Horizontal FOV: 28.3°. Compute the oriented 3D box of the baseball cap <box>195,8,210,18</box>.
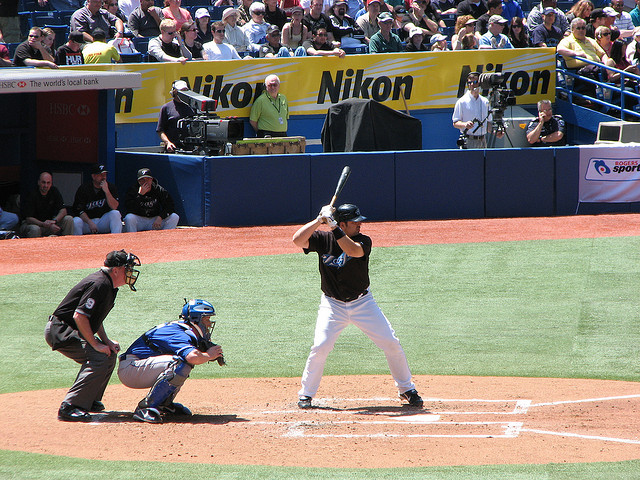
[{"bbox_3d":[-2.469,-4.720,26.463,0.216,0.155,0.299,-3,7,-15],"label":"baseball cap"}]

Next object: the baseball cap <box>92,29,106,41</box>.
[{"bbox_3d":[-4.290,-3.963,24.615,0.184,0.227,0.244,2,7,-15],"label":"baseball cap"}]

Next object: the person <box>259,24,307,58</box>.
[{"bbox_3d":[-0.816,-4.094,26.290,1.002,0.638,0.577,-4,10,-28],"label":"person"}]

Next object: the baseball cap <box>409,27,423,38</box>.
[{"bbox_3d":[2.034,-4.442,27.223,0.267,0.215,0.446,2,9,4],"label":"baseball cap"}]

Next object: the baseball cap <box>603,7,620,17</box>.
[{"bbox_3d":[6.275,-4.966,27.642,0.389,0.143,0.255,5,24,44],"label":"baseball cap"}]

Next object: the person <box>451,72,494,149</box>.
[{"bbox_3d":[3.100,-2.571,25.299,0.869,1.474,0.645,-2,10,-19],"label":"person"}]

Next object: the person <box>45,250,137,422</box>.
[{"bbox_3d":[-2.702,1.130,14.932,1.021,1.999,0.399,-1,10,-11],"label":"person"}]

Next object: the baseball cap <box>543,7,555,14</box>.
[{"bbox_3d":[4.938,-4.976,27.585,0.204,0.138,0.205,-2,9,-15],"label":"baseball cap"}]

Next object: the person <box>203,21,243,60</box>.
[{"bbox_3d":[-2.000,-4.057,25.882,0.780,0.753,0.502,0,9,-9],"label":"person"}]

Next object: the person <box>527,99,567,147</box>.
[{"bbox_3d":[4.512,-2.232,25.560,0.858,1.080,0.671,-6,14,1],"label":"person"}]

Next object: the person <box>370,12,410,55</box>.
[{"bbox_3d":[1.374,-4.325,26.918,0.833,1.130,0.751,3,-10,14],"label":"person"}]

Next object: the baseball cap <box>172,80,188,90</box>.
[{"bbox_3d":[-2.692,-2.965,24.314,0.287,0.104,0.394,2,7,-1],"label":"baseball cap"}]

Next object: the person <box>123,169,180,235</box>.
[{"bbox_3d":[-3.137,-0.743,23.194,0.610,1.178,0.924,7,11,33],"label":"person"}]

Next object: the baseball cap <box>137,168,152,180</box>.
[{"bbox_3d":[-3.141,-1.189,22.765,0.212,0.163,0.340,1,9,-1],"label":"baseball cap"}]

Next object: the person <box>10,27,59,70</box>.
[{"bbox_3d":[-5.411,-3.633,24.033,0.846,0.737,0.669,-1,10,-14],"label":"person"}]

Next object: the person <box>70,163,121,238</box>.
[{"bbox_3d":[-4.078,-0.726,23.023,0.908,1.288,0.501,-1,10,-10],"label":"person"}]

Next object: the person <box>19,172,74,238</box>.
[{"bbox_3d":[-4.959,-0.643,23.043,0.954,1.159,0.402,-1,10,-13],"label":"person"}]

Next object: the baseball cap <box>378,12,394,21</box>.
[{"bbox_3d":[1.359,-4.674,26.638,0.276,0.160,0.304,1,9,1],"label":"baseball cap"}]

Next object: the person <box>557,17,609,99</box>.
[{"bbox_3d":[5.706,-3.783,27.366,1.208,1.908,1.095,-7,8,-15],"label":"person"}]

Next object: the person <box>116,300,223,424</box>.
[{"bbox_3d":[-1.761,1.434,15.475,1.288,1.360,1.182,5,0,24],"label":"person"}]

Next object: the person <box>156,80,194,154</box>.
[{"bbox_3d":[-2.755,-2.325,24.152,0.665,1.361,0.509,0,10,-8],"label":"person"}]

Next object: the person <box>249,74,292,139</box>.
[{"bbox_3d":[-0.917,-2.713,25.788,0.837,1.277,0.687,-8,13,-43],"label":"person"}]

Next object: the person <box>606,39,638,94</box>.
[{"bbox_3d":[6.431,-3.752,27.098,0.587,1.163,0.669,-10,20,-26],"label":"person"}]

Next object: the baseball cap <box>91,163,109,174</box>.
[{"bbox_3d":[-4.013,-1.308,22.888,0.232,0.159,0.328,-3,-7,-40],"label":"baseball cap"}]
